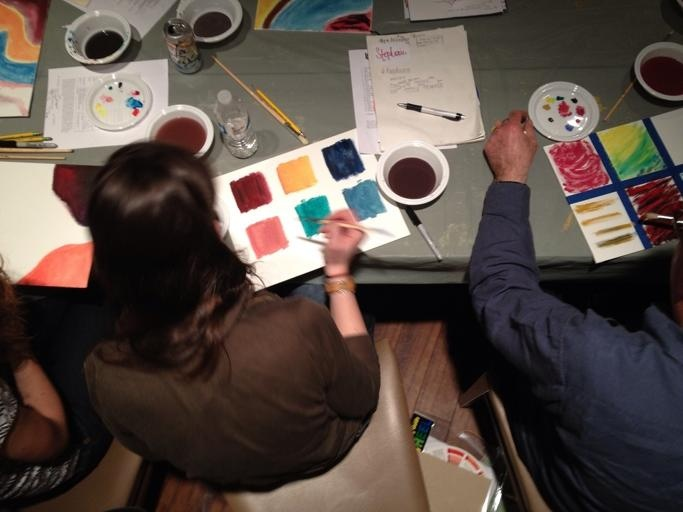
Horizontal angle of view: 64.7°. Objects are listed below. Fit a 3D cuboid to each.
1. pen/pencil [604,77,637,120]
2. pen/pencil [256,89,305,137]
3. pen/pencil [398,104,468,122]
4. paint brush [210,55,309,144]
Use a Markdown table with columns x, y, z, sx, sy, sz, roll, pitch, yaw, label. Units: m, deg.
| x | y | z | sx | sy | sz | roll | pitch | yaw | label |
| --- | --- | --- | --- | --- | --- | --- | --- | --- | --- |
| 0.853 | -0.473 | 1.639 | 0.015 | 0.015 | 0.150 | 33 | 88 | 34 | pen/pencil |
| -0.188 | -0.433 | 1.657 | 0.020 | 0.179 | 0.014 | -42 | -2 | 24 | pen/pencil |
| 0.282 | -0.434 | 1.639 | 0.146 | 0.022 | 0.017 | 13 | 25 | 3 | pen/pencil |
| -0.251 | -0.469 | 1.658 | 0.051 | 0.364 | 0.018 | -45 | -8 | 15 | paint brush |
